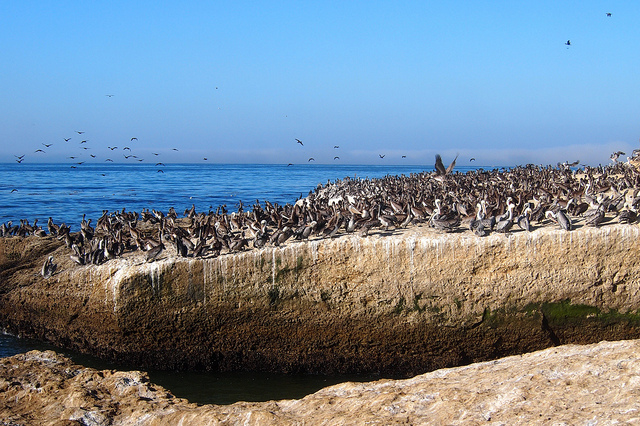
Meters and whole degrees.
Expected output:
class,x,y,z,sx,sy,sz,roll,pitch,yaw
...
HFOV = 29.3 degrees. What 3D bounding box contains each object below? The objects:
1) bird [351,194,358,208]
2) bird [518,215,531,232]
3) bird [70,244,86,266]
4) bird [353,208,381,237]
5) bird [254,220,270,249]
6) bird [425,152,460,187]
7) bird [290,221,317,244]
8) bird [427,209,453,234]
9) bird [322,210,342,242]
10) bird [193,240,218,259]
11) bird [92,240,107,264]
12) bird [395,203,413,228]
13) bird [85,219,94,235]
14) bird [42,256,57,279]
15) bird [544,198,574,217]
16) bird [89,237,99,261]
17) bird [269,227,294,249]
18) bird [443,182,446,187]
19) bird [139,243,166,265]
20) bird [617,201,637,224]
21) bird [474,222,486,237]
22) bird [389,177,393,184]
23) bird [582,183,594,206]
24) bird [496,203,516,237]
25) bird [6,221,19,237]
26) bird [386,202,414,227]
class,x,y,z,sx,sy,sz,roll,pitch,yaw
bird,1.519,-0.515,53.171,0.156,0.581,0.436,4,3,7
bird,7.617,0.382,45.754,0.353,0.569,0.504,-6,8,-8
bird,-9.251,1.597,47.066,0.544,0.765,0.943,-6,8,-12
bird,1.772,0.437,46.230,1.040,1.152,0.592,7,6,-18
bird,-2.167,0.824,46.423,0.640,0.830,0.641,18,50,20
bird,5.490,-2.021,54.560,1.549,0.740,1.666,4,-6,18
bird,-0.560,0.629,46.073,1.110,0.650,0.538,-10,-17,41
bird,4.598,0.297,46.366,0.822,0.855,0.726,1,10,32
bird,0.532,0.491,46.412,0.650,1.038,0.458,29,0,29
bird,-4.254,1.356,45.817,0.713,0.537,0.665,20,-19,3
bird,-8.367,1.624,46.520,0.458,0.561,0.152,-9,10,-30
bird,3.224,0.127,47.216,0.512,0.813,0.945,4,11,45
bird,-9.996,0.597,53.351,0.261,0.578,0.687,6,1,-36
bird,-10.367,1.982,47.166,0.355,0.429,1.059,7,32,-14
bird,9.551,-0.420,48.363,0.919,0.520,0.311,32,26,-31
bird,-8.615,1.322,47.079,0.350,0.789,0.195,9,-24,11
bird,-1.318,0.924,45.977,1.128,0.417,0.627,-29,-13,0
bird,5.789,-1.373,56.754,0.091,0.215,0.250,10,3,-19
bird,-6.288,1.506,45.842,0.936,0.702,0.725,-2,8,16
bird,11.696,-0.012,46.722,0.880,0.636,0.303,-26,-37,9
bird,5.991,0.560,45.802,0.400,0.524,0.499,-3,8,7
bird,3.748,-1.757,63.956,0.129,0.291,0.311,7,-2,-4
bird,10.929,-0.734,50.025,0.322,0.919,0.396,8,2,-12
bird,6.994,0.251,45.725,0.715,1.109,0.627,-6,9,-11
bird,-13.643,0.722,54.592,0.427,0.486,0.529,14,18,37
bird,2.933,0.197,47.027,1.385,0.532,1.365,4,41,1
